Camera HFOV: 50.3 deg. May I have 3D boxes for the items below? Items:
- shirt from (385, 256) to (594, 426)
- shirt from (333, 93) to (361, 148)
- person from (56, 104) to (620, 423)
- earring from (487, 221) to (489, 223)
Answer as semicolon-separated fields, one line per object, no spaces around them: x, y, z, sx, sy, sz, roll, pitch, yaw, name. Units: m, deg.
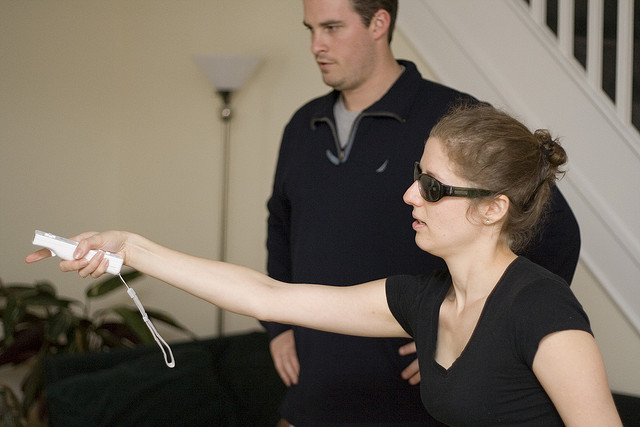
0.473;0.356;1.917;0.530;0.294;0.424;-15;38;18;shirt
0.111;-0.329;2.465;0.119;0.041;0.174;-2;76;42;shirt
0.011;0.155;2.356;1.359;1.585;0.934;-1;6;-9;person
0.467;0.023;1.899;0.004;0.004;0.004;-15;19;-38;earring
